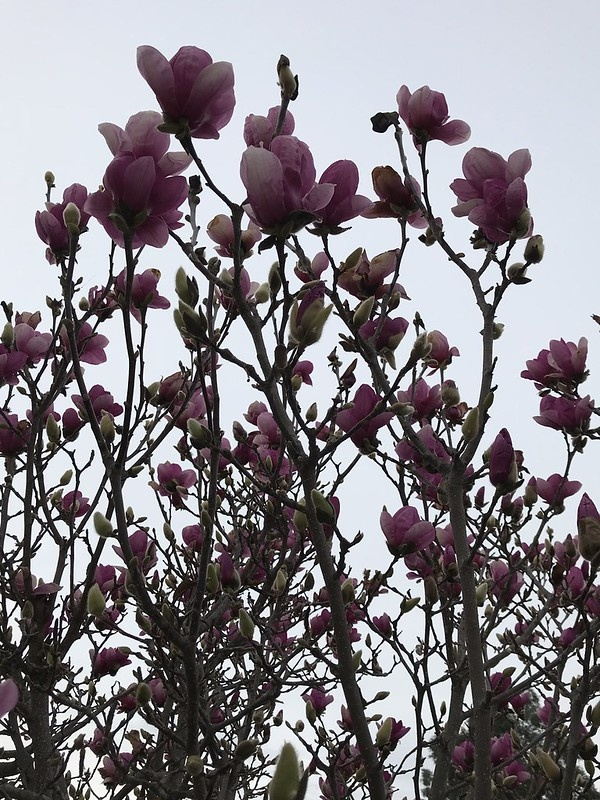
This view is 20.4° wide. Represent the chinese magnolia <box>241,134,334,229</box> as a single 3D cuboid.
[{"bbox_3d":[-0.054,-0.877,6.720,0.369,0.342,0.258,-7,-34,-5],"label":"chinese magnolia"}]
